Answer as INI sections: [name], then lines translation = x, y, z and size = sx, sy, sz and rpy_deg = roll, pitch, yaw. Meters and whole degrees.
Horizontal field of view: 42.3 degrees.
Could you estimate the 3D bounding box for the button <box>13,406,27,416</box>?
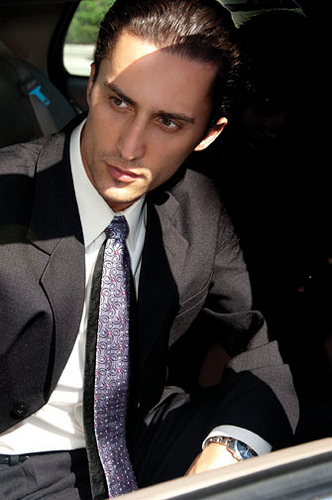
[button]
translation = -0.389, 0.419, 1.135
size = 0.033, 0.010, 0.023
rpy_deg = 3, 59, -1
